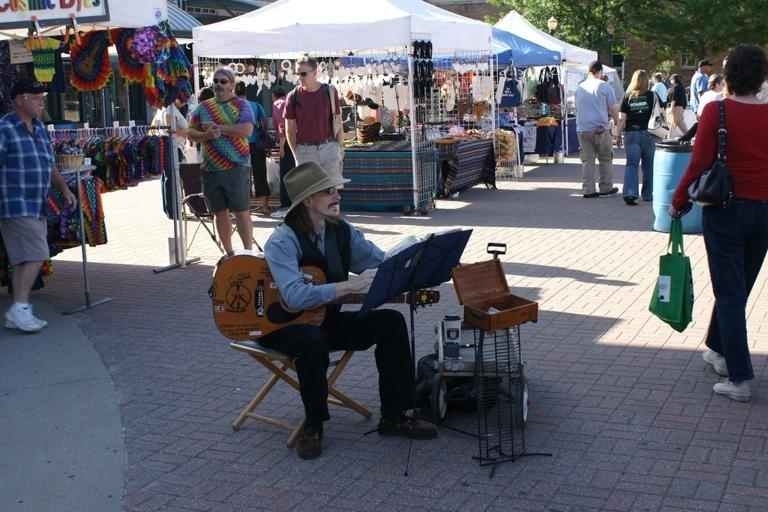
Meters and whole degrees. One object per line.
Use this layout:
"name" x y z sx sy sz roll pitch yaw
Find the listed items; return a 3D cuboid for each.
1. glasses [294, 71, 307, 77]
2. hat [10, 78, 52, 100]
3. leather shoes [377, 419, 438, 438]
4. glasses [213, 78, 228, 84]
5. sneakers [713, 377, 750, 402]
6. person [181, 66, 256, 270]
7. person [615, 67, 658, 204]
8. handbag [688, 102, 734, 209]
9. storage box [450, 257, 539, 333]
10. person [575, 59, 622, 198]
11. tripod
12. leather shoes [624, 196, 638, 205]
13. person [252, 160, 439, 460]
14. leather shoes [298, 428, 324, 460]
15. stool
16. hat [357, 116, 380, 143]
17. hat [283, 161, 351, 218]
"glasses" -1.225 -2.717 10.691 0.081 0.076 0.240 -10 18 -26
"hat" -3.608 -1.690 7.262 0.321 0.176 0.230 -20 11 -12
"leather shoes" 0.190 1.273 5.269 0.342 0.149 0.178 -1 5 10
"glasses" -2.029 -2.164 8.863 0.196 0.096 0.107 -1 15 4
"sneakers" 2.738 1.043 5.644 0.132 0.173 0.280 -17 22 -42
"person" -2.013 -1.181 8.946 0.742 2.253 0.655 0 14 6
"person" 4.516 -2.074 12.679 0.674 2.312 1.103 3 15 21
"handbag" 2.561 -0.789 5.491 0.264 0.808 0.364 7 -3 7
"storage box" 0.802 0.265 5.174 0.561 0.451 0.596 2 11 26
"person" 4.097 -2.359 13.581 0.851 2.500 1.461 3 15 19
"tripod" 0.398 0.662 5.650 0.864 1.151 1.178 0 14 13
"leather shoes" 4.459 -0.990 12.815 0.172 0.144 0.149 1 4 35
"person" -0.355 0.352 5.231 1.132 1.991 0.892 -5 15 -12
"leather shoes" -0.524 1.340 5.169 0.127 0.109 0.242 0 2 0
"stool" -0.656 0.964 5.557 0.985 0.683 1.093 0 4 10
"hat" -0.197 -2.426 13.881 0.397 0.510 0.489 -5 12 -27
"hat" -0.513 -0.498 5.331 0.417 0.228 0.358 -32 12 18
